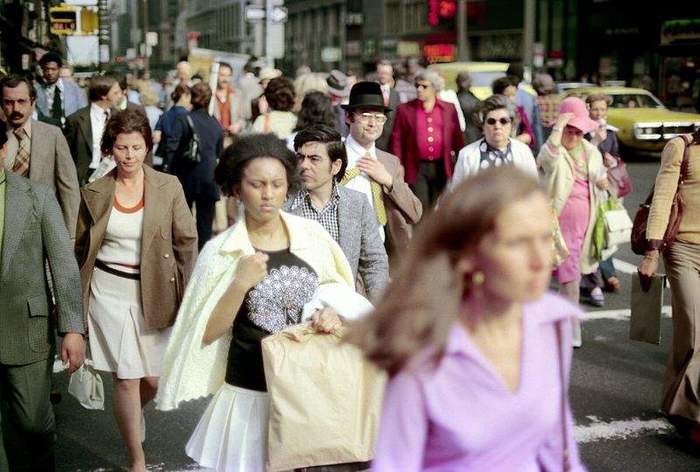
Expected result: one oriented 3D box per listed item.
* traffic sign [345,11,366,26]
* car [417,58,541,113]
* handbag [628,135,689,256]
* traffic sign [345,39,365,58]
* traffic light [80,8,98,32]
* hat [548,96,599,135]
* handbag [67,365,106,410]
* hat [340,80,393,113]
[{"bbox_3d":[0.507,-17.571,68.274,1.156,1.371,0.298,2,8,34],"label":"traffic sign"},{"bbox_3d":[3.227,-3.698,21.431,2.677,1.641,1.709,-4,22,-2],"label":"car"},{"bbox_3d":[2.567,-0.328,6.907,0.248,0.943,0.483,10,7,-11],"label":"handbag"},{"bbox_3d":[0.405,-15.278,68.385,1.523,1.546,1.355,-3,-2,41],"label":"traffic sign"},{"bbox_3d":[-8.786,-7.286,28.382,0.597,0.809,0.651,-5,11,-21],"label":"traffic light"},{"bbox_3d":[2.480,-1.307,9.120,0.358,0.252,0.389,-5,-1,29],"label":"hat"},{"bbox_3d":[-2.023,1.158,6.482,0.238,0.380,0.177,1,10,6],"label":"handbag"},{"bbox_3d":[0.170,-1.327,7.991,0.296,0.233,0.393,0,0,-6],"label":"hat"}]
